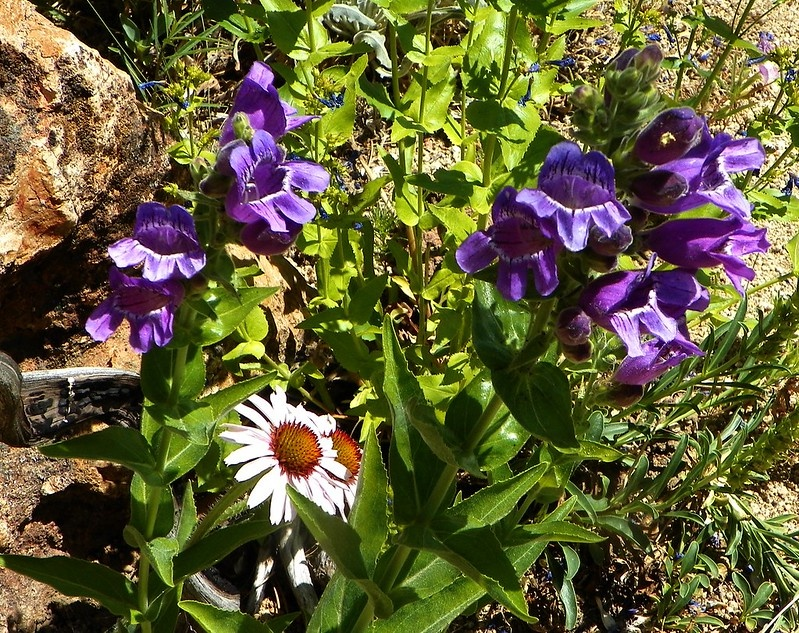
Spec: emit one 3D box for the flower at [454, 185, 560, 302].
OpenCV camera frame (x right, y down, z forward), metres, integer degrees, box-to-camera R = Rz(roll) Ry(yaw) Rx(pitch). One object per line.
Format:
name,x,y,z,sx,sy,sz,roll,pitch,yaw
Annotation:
flower,0.376,-0.218,2.687,0.314,0.372,0.159,14,26,21

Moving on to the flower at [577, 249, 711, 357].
flower,0.812,-0.027,2.695,0.407,0.243,0.183,20,20,-26

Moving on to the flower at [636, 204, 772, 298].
flower,1.004,-0.197,2.756,0.348,0.247,0.185,14,-22,1

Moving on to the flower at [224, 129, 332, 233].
flower,-0.416,-0.428,2.813,0.340,0.289,0.197,10,25,-44

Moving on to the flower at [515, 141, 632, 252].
flower,0.553,-0.379,2.607,0.357,0.219,0.217,27,19,-9
